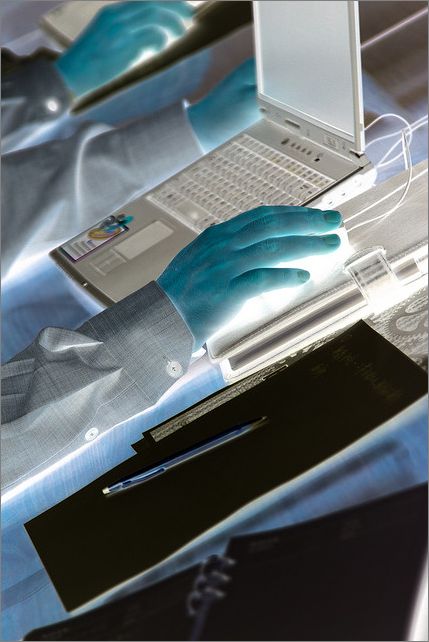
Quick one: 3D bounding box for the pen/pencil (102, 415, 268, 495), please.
[{"bbox_3d":[-0.025,0.131,0.514,0.149,0.016,0.012,-25,12,-3],"label":"pen/pencil"}]
